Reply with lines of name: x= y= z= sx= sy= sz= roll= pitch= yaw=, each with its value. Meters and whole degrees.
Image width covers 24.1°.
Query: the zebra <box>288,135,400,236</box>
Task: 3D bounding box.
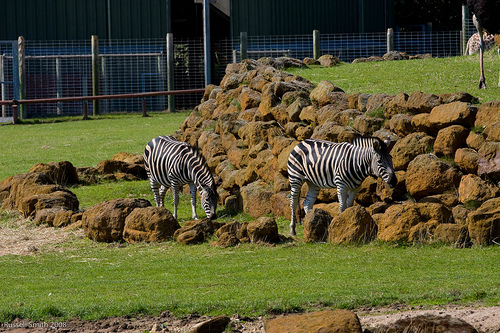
zebra: x=2.754 y=0.529 z=36.733 sx=3.834 sy=3.400 sz=1.114 roll=5 pitch=11 yaw=37

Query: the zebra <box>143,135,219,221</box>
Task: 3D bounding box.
zebra: x=-2.353 y=0.441 z=39.305 sx=1.150 sy=2.620 sz=3.762 roll=-12 pitch=19 yaw=-39

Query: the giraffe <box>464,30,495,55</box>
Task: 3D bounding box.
giraffe: x=9.549 y=-5.237 z=49.051 sx=1.153 sy=0.932 sz=6.150 roll=-2 pitch=6 yaw=11
